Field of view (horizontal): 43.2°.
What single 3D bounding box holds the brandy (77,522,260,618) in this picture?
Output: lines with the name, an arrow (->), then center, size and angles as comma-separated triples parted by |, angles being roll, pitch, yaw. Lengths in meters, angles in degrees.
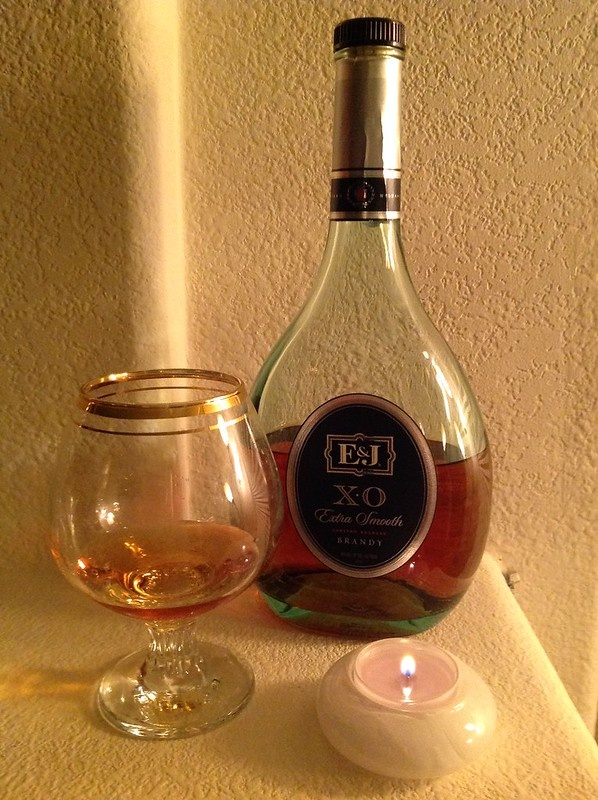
brandy -> -0.078, 0.098, 0.447 | 0.076, 0.031, 0.085 | 10, 16, 37

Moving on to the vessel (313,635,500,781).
vessel -> 0.058, 0.175, 0.428 | 0.090, 0.038, 0.095 | -10, 16, -40

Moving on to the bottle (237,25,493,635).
bottle -> 0.051, -0.036, 0.517 | 0.166, 0.403, 0.092 | -1, 15, -4

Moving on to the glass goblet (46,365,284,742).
glass goblet -> -0.090, 0.107, 0.494 | 0.157, 0.180, 0.136 | 0, 6, 3
